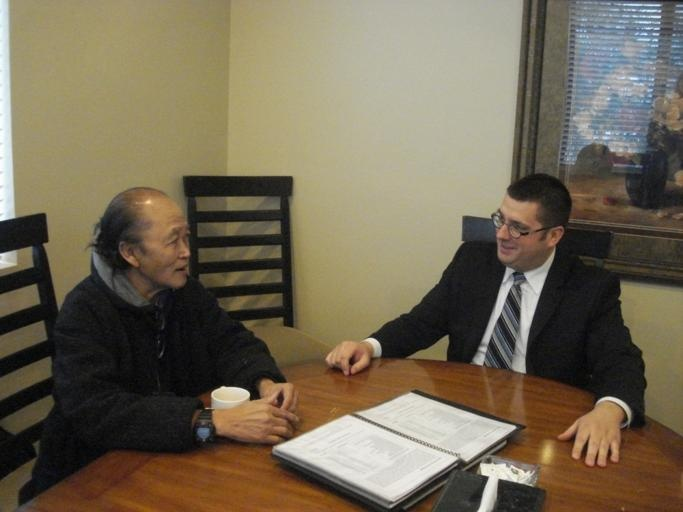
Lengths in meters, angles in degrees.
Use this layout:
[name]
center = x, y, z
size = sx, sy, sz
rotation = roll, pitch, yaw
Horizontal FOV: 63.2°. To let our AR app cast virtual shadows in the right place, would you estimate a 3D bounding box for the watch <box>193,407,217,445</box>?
[watch]
center = -0.426, 0.531, 1.724
size = 0.057, 0.094, 0.092
rotation = 2, -5, -11
